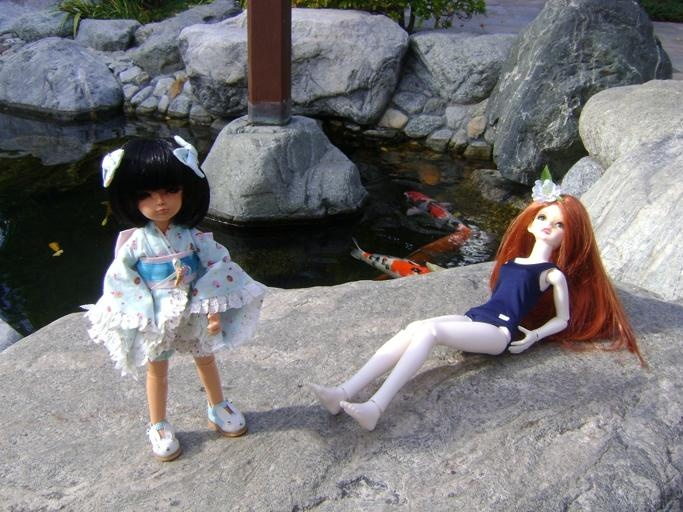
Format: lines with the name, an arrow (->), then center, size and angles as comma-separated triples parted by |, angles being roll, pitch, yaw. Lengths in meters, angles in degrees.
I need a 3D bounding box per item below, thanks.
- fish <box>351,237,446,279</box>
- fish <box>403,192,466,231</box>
fish -> 0.432, 0.116, 5.432 | 0.785, 0.270, 0.233 | 23, 34, 24
fish -> 1.069, -0.488, 6.480 | 0.375, 0.191, 0.656 | -16, 39, -39
